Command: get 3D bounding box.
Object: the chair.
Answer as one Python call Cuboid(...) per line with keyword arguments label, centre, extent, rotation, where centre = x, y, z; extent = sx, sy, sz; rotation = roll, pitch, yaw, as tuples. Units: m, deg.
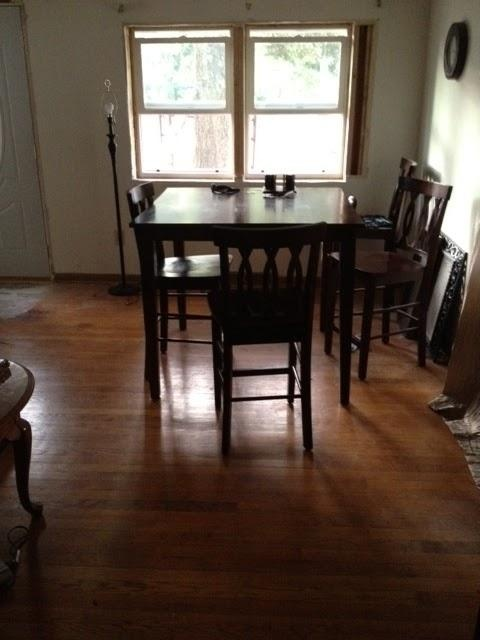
Cuboid(label="chair", centre=(0.274, -0.221, 2.707), extent=(1.230, 1.001, 1.829), rotation=(20, 28, 41))
